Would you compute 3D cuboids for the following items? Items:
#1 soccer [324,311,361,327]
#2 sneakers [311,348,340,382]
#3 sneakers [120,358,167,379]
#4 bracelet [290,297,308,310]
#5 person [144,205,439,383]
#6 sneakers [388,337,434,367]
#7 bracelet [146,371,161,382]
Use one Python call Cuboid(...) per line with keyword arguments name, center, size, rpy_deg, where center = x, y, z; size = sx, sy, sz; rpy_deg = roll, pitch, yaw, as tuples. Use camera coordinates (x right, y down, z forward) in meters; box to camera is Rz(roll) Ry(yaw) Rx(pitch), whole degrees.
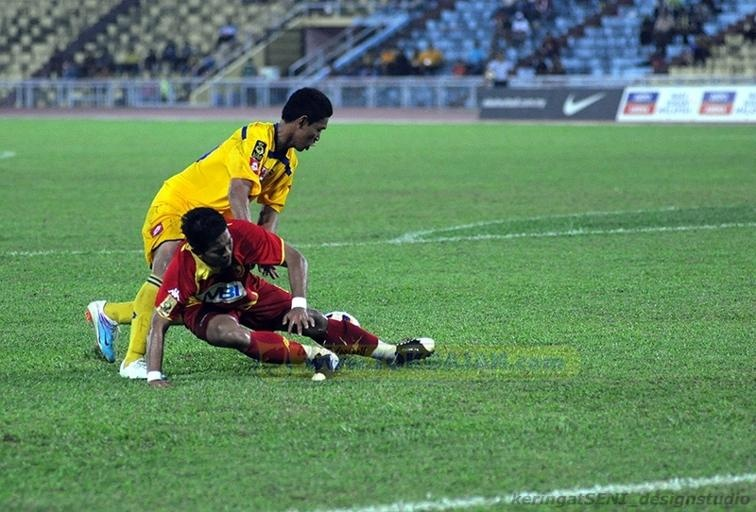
Cuboid(name="soccer", center=(-0.245, 0.478, 9.351), size=(0.160, 0.080, 0.161), rpy_deg=(4, -4, 39))
Cuboid(name="sneakers", center=(-0.407, 0.831, 9.203), size=(0.289, 0.337, 0.209), rpy_deg=(2, -8, -6))
Cuboid(name="sneakers", center=(-1.771, 0.856, 9.119), size=(0.386, 0.143, 0.133), rpy_deg=(0, -4, 4))
Cuboid(name="bracelet", center=(-0.593, 0.360, 9.130), size=(0.099, 0.062, 0.093), rpy_deg=(1, -3, -31))
Cuboid(name="person", center=(-0.651, 0.213, 9.349), size=(1.918, 1.022, 1.024), rpy_deg=(7, 20, 3))
Cuboid(name="sneakers", center=(0.272, 0.735, 9.297), size=(0.301, 0.163, 0.100), rpy_deg=(-4, 35, 0))
Cuboid(name="bracelet", center=(-1.646, 0.891, 9.026), size=(0.099, 0.085, 0.060), rpy_deg=(0, 3, 12))
